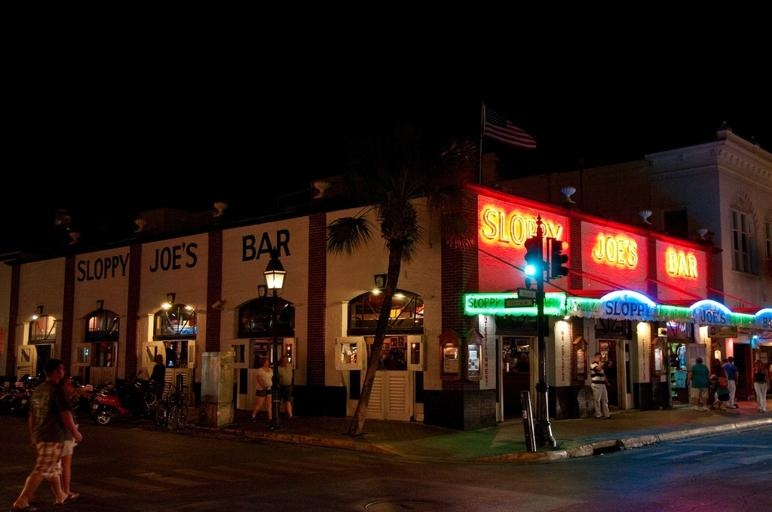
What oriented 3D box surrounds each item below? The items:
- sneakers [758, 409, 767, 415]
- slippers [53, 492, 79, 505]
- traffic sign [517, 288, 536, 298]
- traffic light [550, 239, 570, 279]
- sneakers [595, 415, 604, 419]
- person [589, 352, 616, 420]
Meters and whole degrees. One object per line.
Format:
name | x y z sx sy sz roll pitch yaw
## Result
sneakers | 15.444 6.348 30.639 0.223 0.286 0.690 -13 -20 43
slippers | -7.177 5.461 16.908 0.460 0.168 0.240 -5 -2 -11
traffic sign | 4.298 1.109 22.826 0.489 0.335 0.112 0 6 -43
traffic light | 5.351 0.061 23.225 0.515 1.227 1.231 -4 -15 11
sneakers | 8.206 6.151 28.836 0.258 0.138 0.501 -5 -15 14
person | 8.301 4.999 29.249 0.621 2.519 0.952 -4 -15 12
